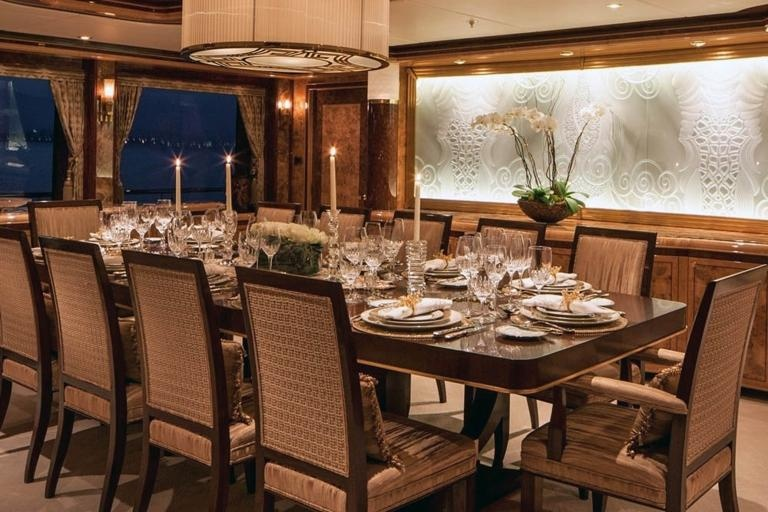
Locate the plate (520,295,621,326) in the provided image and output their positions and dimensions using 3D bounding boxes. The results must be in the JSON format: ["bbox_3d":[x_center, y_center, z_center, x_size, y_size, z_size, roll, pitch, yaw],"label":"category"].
[{"bbox_3d":[0.848,0.259,2.720,0.229,0.057,0.234,3,5,42],"label":"plate"}]

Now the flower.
[{"bbox_3d":[1.423,-0.997,5.811,1.269,0.951,1.214,3,8,31],"label":"flower"}]

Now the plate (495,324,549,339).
[{"bbox_3d":[0.571,0.328,2.504,0.125,0.022,0.093,4,5,39],"label":"plate"}]

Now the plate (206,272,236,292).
[{"bbox_3d":[-0.908,0.133,3.227,0.148,0.058,0.262,-3,11,-17],"label":"plate"}]

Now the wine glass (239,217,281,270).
[{"bbox_3d":[-0.699,-0.064,3.301,0.212,0.269,0.277,-2,11,-12],"label":"wine glass"}]

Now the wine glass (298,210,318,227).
[{"bbox_3d":[-0.473,-0.225,3.413,0.130,0.129,0.133,1,4,5],"label":"wine glass"}]

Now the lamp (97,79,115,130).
[{"bbox_3d":[-3.587,-1.986,7.454,0.229,0.613,0.083,-1,11,-5],"label":"lamp"}]
